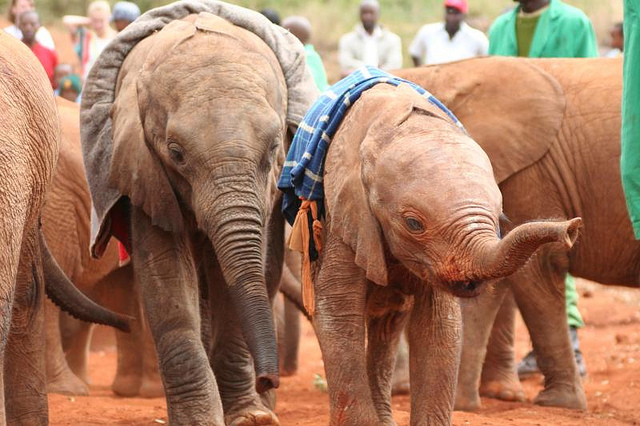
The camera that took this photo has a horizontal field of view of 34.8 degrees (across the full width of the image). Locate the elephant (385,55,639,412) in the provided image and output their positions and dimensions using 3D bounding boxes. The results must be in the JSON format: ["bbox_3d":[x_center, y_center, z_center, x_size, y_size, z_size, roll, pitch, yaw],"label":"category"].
[{"bbox_3d":[1.380,0.098,7.998,1.838,2.492,2.906,1,0,-12],"label":"elephant"}]

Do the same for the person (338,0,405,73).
[{"bbox_3d":[0.605,-2.198,12.503,0.748,0.943,0.559,-1,-3,0],"label":"person"}]
